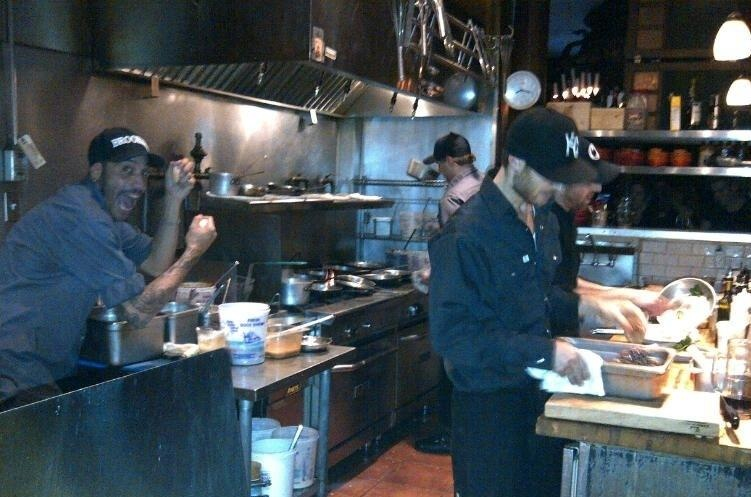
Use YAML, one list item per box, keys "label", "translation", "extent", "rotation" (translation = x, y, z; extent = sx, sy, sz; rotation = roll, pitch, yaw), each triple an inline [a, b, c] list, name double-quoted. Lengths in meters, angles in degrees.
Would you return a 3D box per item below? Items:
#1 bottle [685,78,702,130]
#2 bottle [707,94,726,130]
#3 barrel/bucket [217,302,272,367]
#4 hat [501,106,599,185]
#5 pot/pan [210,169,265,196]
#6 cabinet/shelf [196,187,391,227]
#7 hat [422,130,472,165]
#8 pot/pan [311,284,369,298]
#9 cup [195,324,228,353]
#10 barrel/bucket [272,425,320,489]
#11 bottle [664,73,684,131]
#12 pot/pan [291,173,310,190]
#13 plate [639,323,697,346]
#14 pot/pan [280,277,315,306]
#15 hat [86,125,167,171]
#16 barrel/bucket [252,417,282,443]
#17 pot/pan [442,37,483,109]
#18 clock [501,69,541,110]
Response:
- label: "bottle"
  translation: [2.746, -1.245, 5.506]
  extent: [0.126, 0.438, 0.205]
  rotation: [4, 8, 25]
- label: "bottle"
  translation: [2.897, -1.167, 5.466]
  extent: [0.100, 0.299, 0.223]
  rotation: [5, 9, 34]
- label: "barrel/bucket"
  translation: [-0.623, 0.408, 3.080]
  extent: [0.305, 0.279, 0.272]
  rotation: [1, 2, 3]
- label: "hat"
  translation: [0.664, -0.392, 2.529]
  extent: [0.365, 0.176, 0.252]
  rotation: [21, 27, 12]
- label: "pot/pan"
  translation: [-0.872, -0.394, 3.984]
  extent: [0.234, 0.141, 0.121]
  rotation: [6, 2, 11]
- label: "cabinet/shelf"
  translation: [-0.520, -0.322, 4.410]
  extent: [0.337, 0.158, 1.511]
  rotation: [5, 8, 32]
- label: "hat"
  translation: [0.527, -0.746, 4.710]
  extent: [0.398, 0.221, 0.274]
  rotation: [-1, 13, 28]
- label: "pot/pan"
  translation: [-0.247, 0.302, 4.405]
  extent: [0.268, 0.032, 0.149]
  rotation: [4, 5, 25]
- label: "cup"
  translation: [-0.779, 0.427, 3.107]
  extent: [0.150, 0.146, 0.153]
  rotation: [3, -3, 0]
- label: "barrel/bucket"
  translation: [-0.353, 1.079, 3.358]
  extent: [0.308, 0.280, 0.292]
  rotation: [1, -1, 0]
- label: "bottle"
  translation: [2.561, -1.198, 5.482]
  extent: [0.127, 0.398, 0.315]
  rotation: [3, 8, 24]
- label: "pot/pan"
  translation: [-0.574, -0.505, 4.877]
  extent: [0.147, 0.137, 0.138]
  rotation: [-13, 28, -24]
- label: "plate"
  translation: [1.466, 0.415, 3.246]
  extent: [0.147, 0.028, 0.201]
  rotation: [-9, 4, -31]
- label: "pot/pan"
  translation: [-0.493, 0.268, 4.090]
  extent: [0.216, 0.139, 0.180]
  rotation: [-1, 4, -34]
- label: "hat"
  translation: [-1.184, -0.495, 3.021]
  extent: [0.355, 0.162, 0.259]
  rotation: [3, 16, 25]
- label: "barrel/bucket"
  translation: [-0.561, 0.922, 3.297]
  extent: [0.160, 0.105, 0.151]
  rotation: [1, -1, 0]
- label: "pot/pan"
  translation: [0.739, -1.391, 5.321]
  extent: [0.126, 0.457, 0.525]
  rotation: [5, 8, 32]
- label: "clock"
  translation: [1.223, -1.327, 5.355]
  extent: [0.277, 0.335, 0.343]
  rotation: [1, 7, 11]
